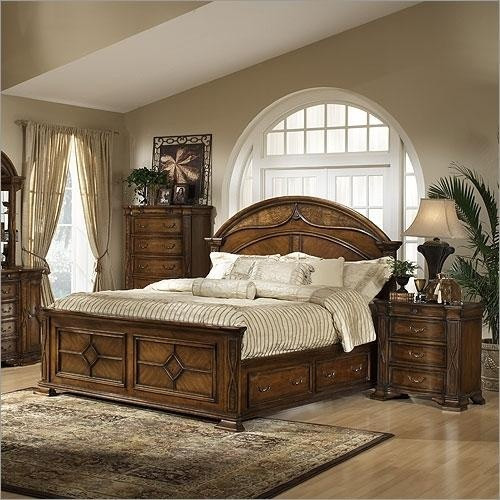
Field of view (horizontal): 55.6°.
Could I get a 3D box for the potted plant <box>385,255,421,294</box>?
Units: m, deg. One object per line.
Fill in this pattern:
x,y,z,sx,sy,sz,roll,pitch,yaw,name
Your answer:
1.312,0.234,4.067,0.280,0.227,0.221,-2,-6,41,potted plant

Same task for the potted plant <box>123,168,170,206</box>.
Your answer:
-1.247,-0.813,6.081,0.702,0.564,0.498,-1,0,-1,potted plant

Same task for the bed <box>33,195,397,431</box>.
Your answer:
-0.183,0.380,4.218,2.586,1.391,2.386,-3,4,-40,bed

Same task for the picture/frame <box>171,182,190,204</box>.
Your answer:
-0.853,-0.692,5.839,0.335,0.337,0.052,0,-3,27,picture/frame

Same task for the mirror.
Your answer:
-2.603,-0.417,5.102,0.223,1.155,0.354,5,-10,-23,mirror

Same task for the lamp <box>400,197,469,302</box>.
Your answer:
1.587,-0.009,4.005,0.580,0.778,0.559,3,2,-23,lamp

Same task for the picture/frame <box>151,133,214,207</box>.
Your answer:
-0.808,-0.974,5.913,1.114,1.011,0.077,3,6,24,picture/frame

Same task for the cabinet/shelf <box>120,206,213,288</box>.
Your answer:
-1.223,-0.026,5.878,0.831,0.925,0.534,-4,11,-32,cabinet/shelf
